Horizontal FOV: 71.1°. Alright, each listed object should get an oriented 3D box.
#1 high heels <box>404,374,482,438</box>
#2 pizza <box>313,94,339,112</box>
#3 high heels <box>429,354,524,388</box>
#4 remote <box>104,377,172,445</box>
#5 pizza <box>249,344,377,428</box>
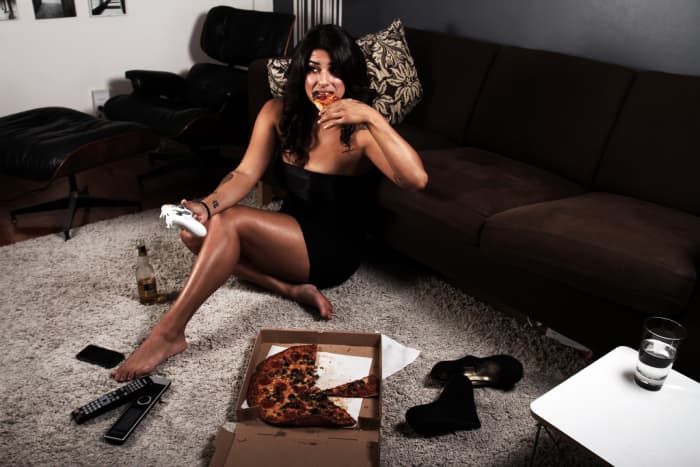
[{"bbox_3d":[0.354,0.655,1.828,0.266,0.095,0.174,-19,58,-20],"label":"high heels"},{"bbox_3d":[-0.117,-0.594,2.173,0.079,0.036,0.086,12,37,26],"label":"pizza"},{"bbox_3d":[0.493,0.555,2.078,0.431,0.153,0.161,-2,-9,4],"label":"high heels"},{"bbox_3d":[-0.816,0.666,1.888,0.092,0.038,0.290,17,42,15],"label":"remote"},{"bbox_3d":[-0.205,0.592,1.853,0.363,0.077,0.393,-4,31,-17],"label":"pizza"}]
